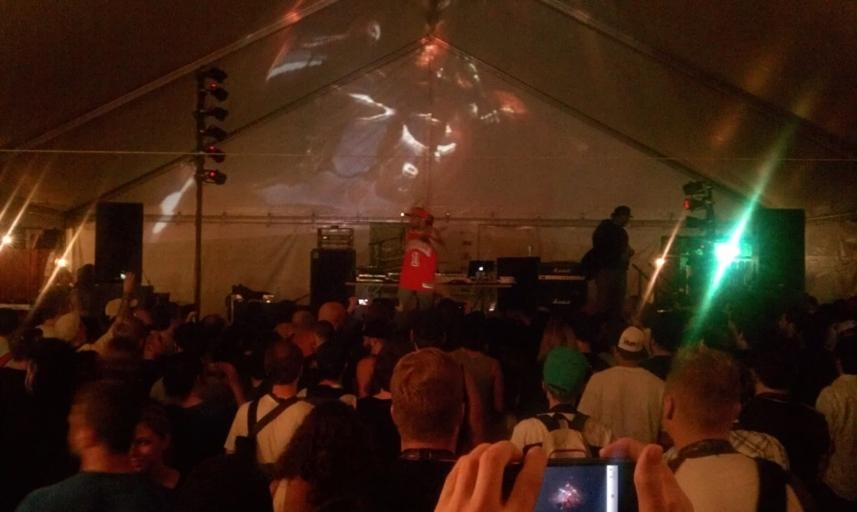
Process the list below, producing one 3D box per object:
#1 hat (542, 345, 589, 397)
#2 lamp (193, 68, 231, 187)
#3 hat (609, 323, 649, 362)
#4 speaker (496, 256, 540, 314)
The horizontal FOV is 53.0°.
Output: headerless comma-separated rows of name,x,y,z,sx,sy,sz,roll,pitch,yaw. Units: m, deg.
hat,1.460,1.214,9.302,0.407,0.418,0.562,4,10,17
lamp,-2.922,-1.922,11.560,0.430,1.313,0.272,-2,4,-23
hat,2.272,0.993,9.617,0.331,0.419,0.177,5,-7,8
speaker,1.113,0.331,10.567,0.642,0.846,0.637,1,-9,-2
